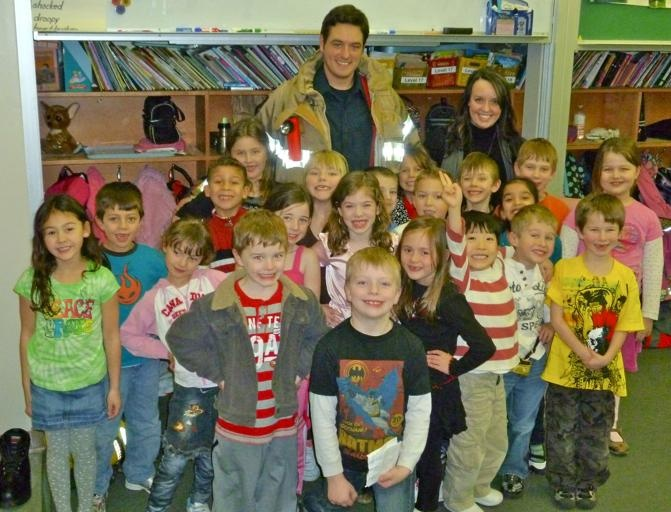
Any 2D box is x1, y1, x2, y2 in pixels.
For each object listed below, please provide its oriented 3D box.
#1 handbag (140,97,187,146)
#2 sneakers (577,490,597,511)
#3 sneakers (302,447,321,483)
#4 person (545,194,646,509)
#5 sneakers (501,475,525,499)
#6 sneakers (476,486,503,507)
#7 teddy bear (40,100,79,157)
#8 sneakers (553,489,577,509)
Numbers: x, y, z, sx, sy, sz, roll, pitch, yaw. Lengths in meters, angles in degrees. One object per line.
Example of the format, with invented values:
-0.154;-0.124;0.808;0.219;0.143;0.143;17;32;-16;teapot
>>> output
-1.471;-1.200;5.367;0.422;0.478;0.339;-13;30;-26;handbag
1.243;1.198;3.069;0.055;0.061;0.135;0;-2;11;sneakers
-0.140;1.025;3.059;0.113;0.127;0.074;10;-36;-24;sneakers
1.275;0.459;3.083;0.480;1.505;0.356;-2;11;-1;person
0.893;1.151;3.127;0.069;0.083;0.133;4;13;18;sneakers
0.756;1.175;3.048;0.125;0.051;0.079;-5;38;15;sneakers
-2.225;-1.012;4.996;0.320;0.409;0.306;6;9;13;teddy bear
1.140;1.193;3.065;0.060;0.050;0.111;0;8;-2;sneakers
